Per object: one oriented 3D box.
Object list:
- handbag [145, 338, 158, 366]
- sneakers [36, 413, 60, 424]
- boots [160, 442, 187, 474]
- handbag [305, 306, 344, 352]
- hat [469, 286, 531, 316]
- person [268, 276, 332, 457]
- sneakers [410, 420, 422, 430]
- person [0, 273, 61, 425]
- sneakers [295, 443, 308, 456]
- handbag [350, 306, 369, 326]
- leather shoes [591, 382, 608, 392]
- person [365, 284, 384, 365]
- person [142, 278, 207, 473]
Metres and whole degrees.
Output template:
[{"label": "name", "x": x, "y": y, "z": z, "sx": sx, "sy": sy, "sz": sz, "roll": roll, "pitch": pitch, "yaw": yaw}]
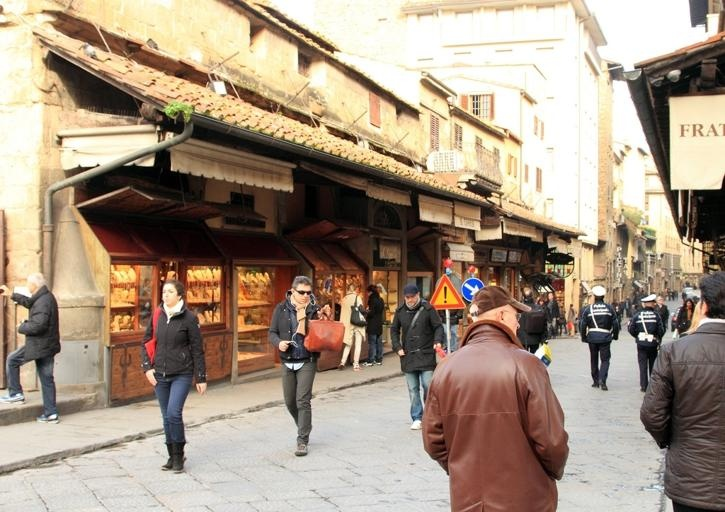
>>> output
[{"label": "handbag", "x": -2.781, "y": 1.234, "z": 11.184, "sx": 0.101, "sy": 0.257, "sz": 0.269, "roll": 0, "pitch": -4, "yaw": -41}, {"label": "sneakers", "x": -4.753, "y": 2.425, "z": 12.866, "sx": 0.311, "sy": 0.140, "sz": 0.130, "roll": 4, "pitch": 0, "yaw": 4}, {"label": "boots", "x": -2.425, "y": 2.593, "z": 11.119, "sx": 0.358, "sy": 0.397, "sz": 0.347, "roll": 1, "pitch": -3, "yaw": 15}, {"label": "handbag", "x": -0.536, "y": 1.033, "z": 11.869, "sx": 0.590, "sy": 0.620, "sz": 0.285, "roll": 6, "pitch": -12, "yaw": -26}, {"label": "hat", "x": 1.325, "y": 0.428, "z": 8.304, "sx": 0.481, "sy": 0.227, "sz": 0.286, "roll": -7, "pitch": 2, "yaw": -10}, {"label": "person", "x": -0.950, "y": 1.487, "z": 11.906, "sx": 0.746, "sy": 2.381, "sz": 0.754, "roll": 1, "pitch": 5, "yaw": 0}, {"label": "sneakers", "x": 0.800, "y": 2.557, "z": 13.131, "sx": 0.150, "sy": 0.149, "sz": 0.243, "roll": 1, "pitch": 5, "yaw": 1}, {"label": "person", "x": -5.045, "y": 1.367, "z": 12.980, "sx": 0.970, "sy": 2.222, "sz": 0.538, "roll": 3, "pitch": 5, "yaw": 18}, {"label": "sneakers", "x": -0.840, "y": 2.618, "z": 11.772, "sx": 0.182, "sy": 0.161, "sz": 0.350, "roll": 1, "pitch": 5, "yaw": -2}, {"label": "handbag", "x": -0.109, "y": 1.316, "z": 19.109, "sx": 0.179, "sy": 0.495, "sz": 0.390, "roll": -18, "pitch": -23, "yaw": 38}, {"label": "leather shoes", "x": 4.713, "y": 2.556, "z": 16.899, "sx": 0.124, "sy": 0.136, "sz": 0.321, "roll": 2, "pitch": 10, "yaw": -28}, {"label": "person", "x": 0.256, "y": 1.608, "z": 19.893, "sx": 0.347, "sy": 1.853, "sz": 0.822, "roll": 1, "pitch": 5, "yaw": 3}, {"label": "person", "x": -2.486, "y": 1.535, "z": 11.182, "sx": 0.875, "sy": 2.426, "sz": 0.588, "roll": 1, "pitch": 5, "yaw": 4}]
